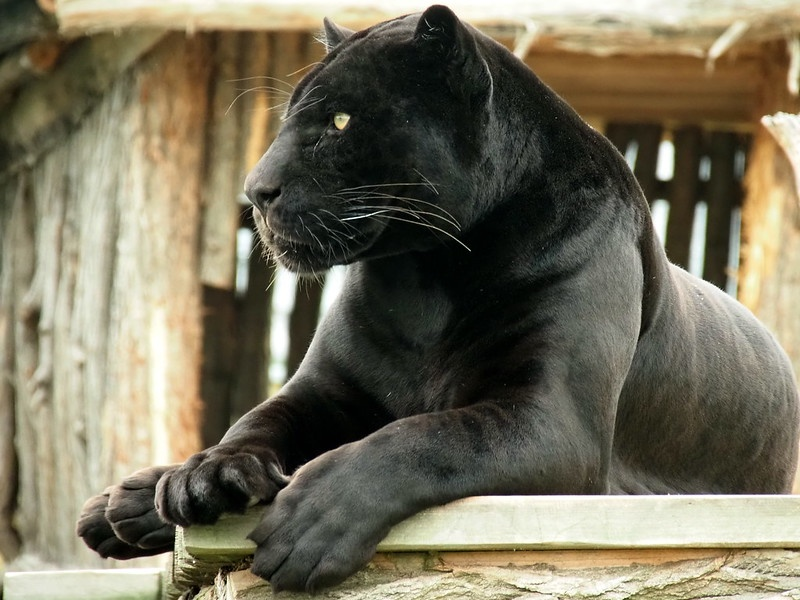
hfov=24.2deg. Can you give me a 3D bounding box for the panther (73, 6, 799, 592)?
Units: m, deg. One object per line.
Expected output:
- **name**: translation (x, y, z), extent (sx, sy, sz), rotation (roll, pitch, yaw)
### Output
- **panther**: translation (0.188, 0.117, 9.389), extent (3.356, 2.217, 1.878), rotation (16, -20, -42)
